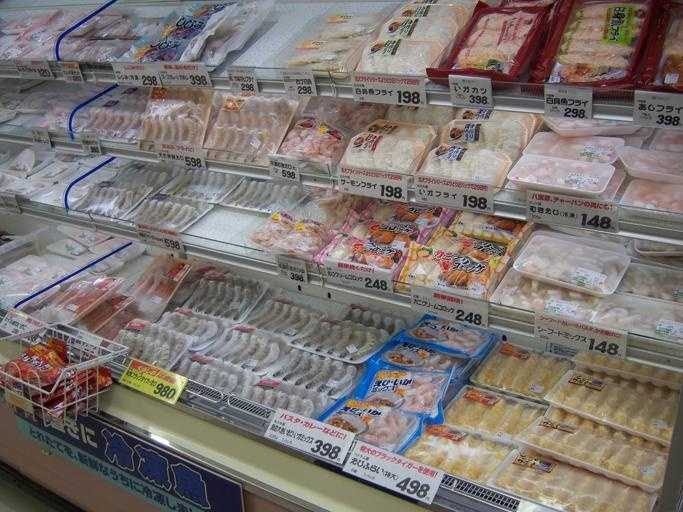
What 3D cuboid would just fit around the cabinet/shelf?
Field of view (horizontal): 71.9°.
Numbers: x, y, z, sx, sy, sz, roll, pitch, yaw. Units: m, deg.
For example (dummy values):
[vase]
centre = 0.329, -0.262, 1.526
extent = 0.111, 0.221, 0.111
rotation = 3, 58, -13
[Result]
[cabinet/shelf]
centre = -0.132, -0.021, 2.251
extent = 3.246, 1.186, 0.925
rotation = 11, -24, 23
